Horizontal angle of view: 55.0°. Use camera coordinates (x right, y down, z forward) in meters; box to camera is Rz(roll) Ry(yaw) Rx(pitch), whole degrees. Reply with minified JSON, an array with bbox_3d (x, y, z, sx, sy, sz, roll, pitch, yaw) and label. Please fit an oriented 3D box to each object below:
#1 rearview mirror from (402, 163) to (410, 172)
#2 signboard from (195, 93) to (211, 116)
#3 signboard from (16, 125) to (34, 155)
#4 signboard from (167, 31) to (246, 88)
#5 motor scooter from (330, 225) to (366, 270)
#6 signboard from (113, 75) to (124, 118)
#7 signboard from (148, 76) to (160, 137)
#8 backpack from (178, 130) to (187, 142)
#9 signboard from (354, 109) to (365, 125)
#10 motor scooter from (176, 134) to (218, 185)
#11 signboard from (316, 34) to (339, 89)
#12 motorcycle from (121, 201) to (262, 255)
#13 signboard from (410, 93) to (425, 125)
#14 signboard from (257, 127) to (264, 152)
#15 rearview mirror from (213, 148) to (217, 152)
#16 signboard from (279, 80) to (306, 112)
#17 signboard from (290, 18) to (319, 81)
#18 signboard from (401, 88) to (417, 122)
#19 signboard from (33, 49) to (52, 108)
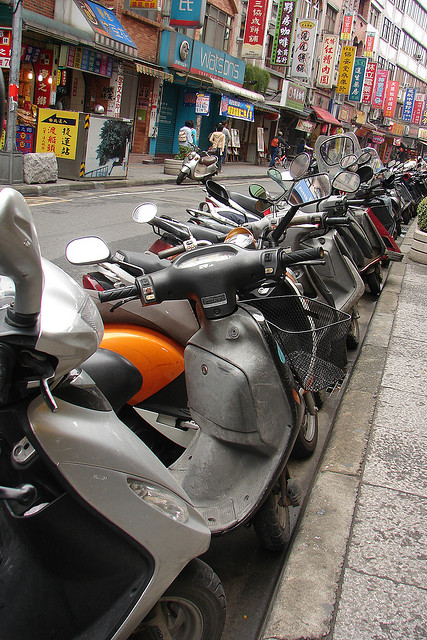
[{"bbox_3d":[5.838,-4.676,12.376,0.164,0.333,0.208,23,24,15],"label":"rearview mirror"},{"bbox_3d":[-0.527,-11.036,20.865,0.626,1.099,1.051,6,12,-10],"label":"signboard"},{"bbox_3d":[-6.597,-6.354,14.359,0.547,0.887,0.338,2,13,-28],"label":"signboard"},{"bbox_3d":[-0.414,-14.885,22.157,1.919,3.023,7.073,8,19,20],"label":"signboard"},{"bbox_3d":[1.734,-0.938,5.221,0.607,0.646,0.431,3,20,10],"label":"motor scooter"},{"bbox_3d":[-4.220,-9.897,18.230,0.199,1.699,0.760,6,12,-10],"label":"signboard"},{"bbox_3d":[-3.002,-10.772,20.827,0.197,2.815,0.487,16,14,35],"label":"signboard"},{"bbox_3d":[-1.370,-8.128,18.051,0.314,0.362,0.629,2,29,5],"label":"backpack"},{"bbox_3d":[17.032,-23.585,47.621,1.669,1.681,0.396,-1,12,-36],"label":"signboard"},{"bbox_3d":[-0.156,-1.811,4.719,0.362,0.494,0.726,34,37,19],"label":"motor scooter"},{"bbox_3d":[10.180,-23.110,36.641,1.433,3.968,0.409,7,20,5],"label":"signboard"},{"bbox_3d":[-0.250,-0.451,2.274,0.292,0.313,0.469,-12,2,-34],"label":"motorcycle"},{"bbox_3d":[30.714,-31.849,61.312,0.870,3.832,3.878,14,10,16],"label":"signboard"},{"bbox_3d":[3.517,-13.602,30.976,0.340,1.571,0.766,16,14,34],"label":"signboard"},{"bbox_3d":[0.058,-7.511,18.075,0.079,0.135,0.087,17,7,28],"label":"rearview mirror"},{"bbox_3d":[6.338,-17.806,32.685,0.462,2.463,3.331,16,14,33],"label":"signboard"},{"bbox_3d":[6.595,-19.922,30.029,1.623,3.754,0.377,7,16,3],"label":"signboard"},{"bbox_3d":[29.188,-32.144,61.217,1.606,4.265,1.800,14,13,26],"label":"signboard"},{"bbox_3d":[-6.451,-9.111,15.434,0.669,2.000,0.255,12,12,18],"label":"signboard"}]
